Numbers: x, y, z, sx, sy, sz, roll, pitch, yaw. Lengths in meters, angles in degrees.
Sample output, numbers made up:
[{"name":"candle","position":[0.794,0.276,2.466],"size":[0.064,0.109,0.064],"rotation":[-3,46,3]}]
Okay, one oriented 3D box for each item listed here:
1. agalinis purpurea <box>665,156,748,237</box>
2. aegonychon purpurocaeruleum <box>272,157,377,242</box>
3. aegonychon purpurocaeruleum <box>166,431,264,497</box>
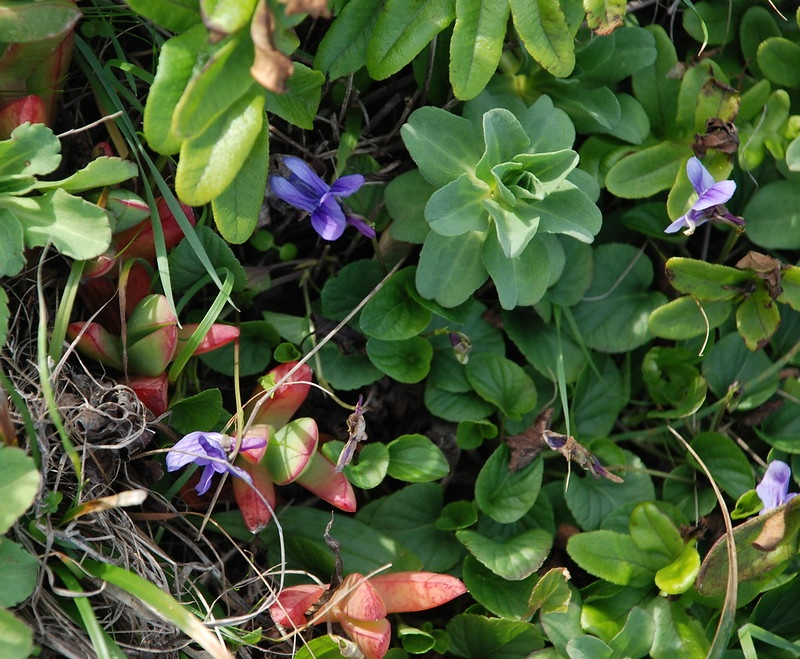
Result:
[{"name":"agalinis purpurea","position":[0.760,-0.303,2.011],"size":[0.207,0.201,0.098],"rotation":[47,11,9]},{"name":"aegonychon purpurocaeruleum","position":[-0.180,-0.372,1.907],"size":[0.212,0.225,0.231],"rotation":[10,18,-8]},{"name":"aegonychon purpurocaeruleum","position":[-0.424,0.277,1.768],"size":[0.155,0.118,0.173],"rotation":[16,32,-9]}]
